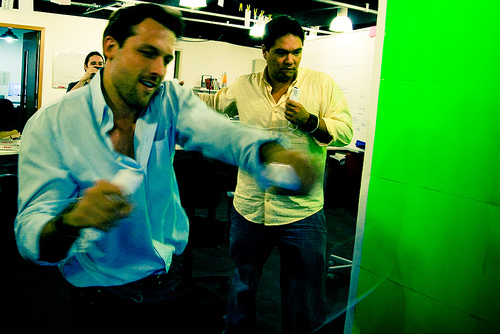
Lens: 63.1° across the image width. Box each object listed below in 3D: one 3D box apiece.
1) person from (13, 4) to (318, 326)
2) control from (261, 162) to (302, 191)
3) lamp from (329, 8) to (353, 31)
[{"bbox_3d":[-0.267,-0.205,2.081,1.220,1.790,0.935,10,19,21],"label":"person"},{"bbox_3d":[0.116,0.036,1.531,0.177,0.092,0.105,0,16,-16],"label":"control"},{"bbox_3d":[0.989,-1.563,4.358,0.210,0.242,0.250,9,15,14],"label":"lamp"}]
